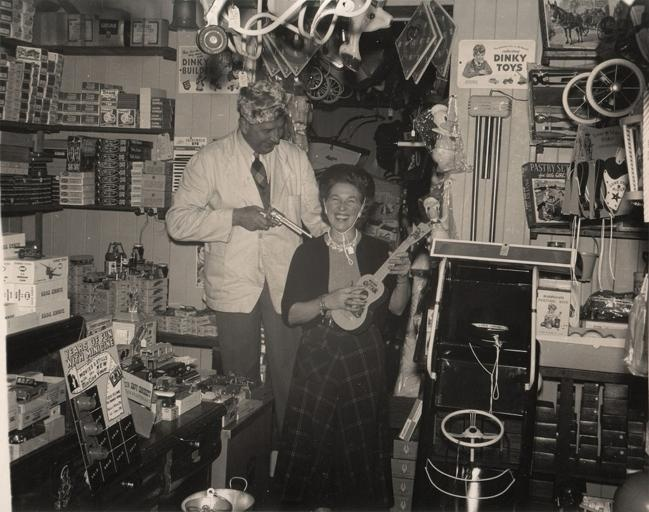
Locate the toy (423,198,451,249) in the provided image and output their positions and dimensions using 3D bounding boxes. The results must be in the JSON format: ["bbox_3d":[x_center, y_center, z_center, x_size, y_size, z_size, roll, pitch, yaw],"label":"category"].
[{"bbox_3d":[0.617,-0.203,3.355,0.153,0.253,0.101,-2,5,-40],"label":"toy"}]

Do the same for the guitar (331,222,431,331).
[{"bbox_3d":[0.316,0.188,3.475,0.291,0.843,0.099,41,3,26],"label":"guitar"}]

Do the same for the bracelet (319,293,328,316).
[{"bbox_3d":[-0.005,0.274,3.382,0.059,0.091,0.031,-3,-9,23],"label":"bracelet"}]
